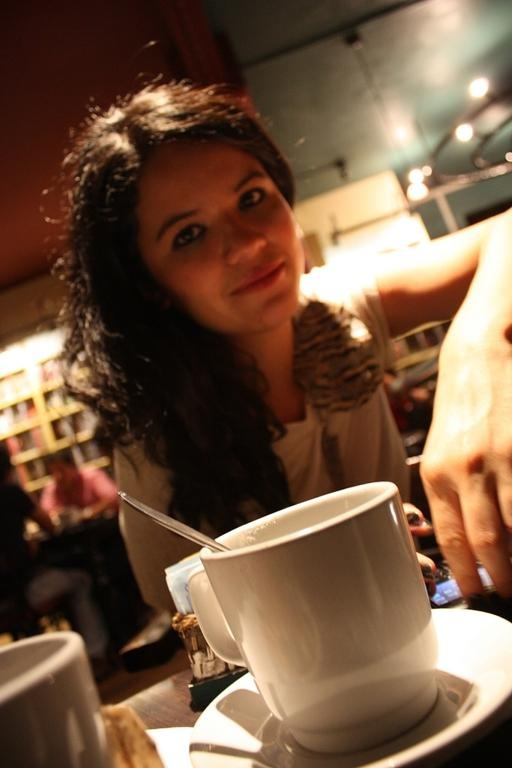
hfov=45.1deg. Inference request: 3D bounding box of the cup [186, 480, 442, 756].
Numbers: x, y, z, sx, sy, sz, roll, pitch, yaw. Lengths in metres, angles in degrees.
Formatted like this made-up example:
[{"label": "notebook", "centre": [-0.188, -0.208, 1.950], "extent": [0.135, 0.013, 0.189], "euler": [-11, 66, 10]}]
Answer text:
[{"label": "cup", "centre": [0.040, 0.117, 0.375], "extent": [0.161, 0.139, 0.126], "euler": [-19, 1, 31]}]
